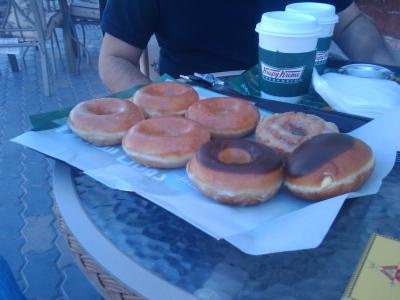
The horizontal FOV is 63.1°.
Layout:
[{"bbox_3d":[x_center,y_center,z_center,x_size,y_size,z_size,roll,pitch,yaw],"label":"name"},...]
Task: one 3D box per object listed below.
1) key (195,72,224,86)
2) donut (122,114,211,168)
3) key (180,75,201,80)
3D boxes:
[{"bbox_3d":[0.040,-0.269,1.181,0.052,0.032,0.083,5,21,-47],"label":"key"},{"bbox_3d":[-0.113,0.003,0.897,0.212,0.082,0.216,0,8,-12],"label":"donut"},{"bbox_3d":[-0.036,-0.270,1.204,0.053,0.009,0.028,9,13,15],"label":"key"}]
